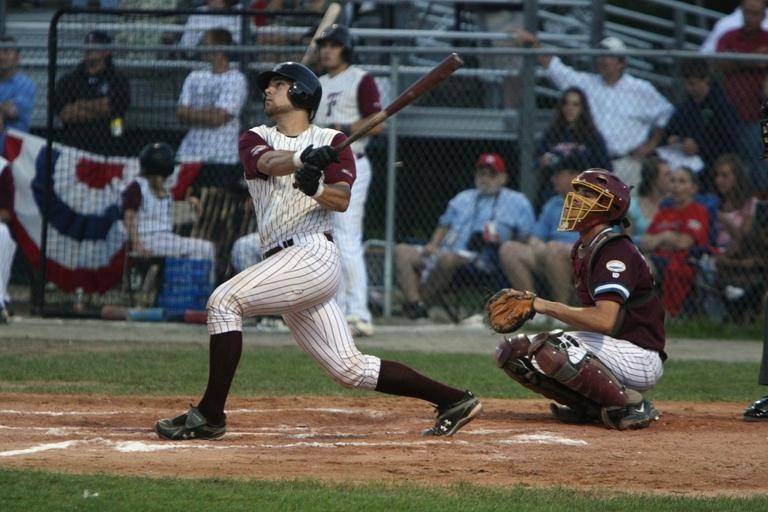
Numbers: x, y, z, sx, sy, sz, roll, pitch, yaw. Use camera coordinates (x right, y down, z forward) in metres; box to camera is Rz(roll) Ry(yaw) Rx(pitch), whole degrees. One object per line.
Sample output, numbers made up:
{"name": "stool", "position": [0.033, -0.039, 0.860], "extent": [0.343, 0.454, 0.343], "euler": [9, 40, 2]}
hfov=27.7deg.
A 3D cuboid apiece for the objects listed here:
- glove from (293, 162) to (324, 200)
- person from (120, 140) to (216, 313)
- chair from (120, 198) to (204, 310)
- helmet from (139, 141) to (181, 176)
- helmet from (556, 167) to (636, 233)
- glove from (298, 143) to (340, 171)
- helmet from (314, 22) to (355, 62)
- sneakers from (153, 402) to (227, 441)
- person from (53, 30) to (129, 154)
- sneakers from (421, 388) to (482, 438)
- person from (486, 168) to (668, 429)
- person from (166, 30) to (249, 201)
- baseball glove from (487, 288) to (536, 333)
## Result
{"name": "glove", "position": [-0.527, -0.507, 10.744], "extent": [0.212, 0.164, 0.215], "euler": [14, -19, -26]}
{"name": "person", "position": [-1.787, -0.231, 12.992], "extent": [0.727, 1.370, 0.596], "euler": [12, 16, 18]}
{"name": "chair", "position": [-1.826, -0.121, 12.678], "extent": [0.702, 1.234, 0.373], "euler": [-4, 15, -22]}
{"name": "helmet", "position": [-1.891, -0.816, 13.164], "extent": [0.264, 0.300, 0.301], "euler": [4, 11, -6]}
{"name": "helmet", "position": [1.572, -0.395, 11.532], "extent": [0.511, 0.459, 0.389], "euler": [16, -4, -20]}
{"name": "glove", "position": [-0.454, -0.683, 10.735], "extent": [0.258, 0.140, 0.151], "euler": [4, 1, -1]}
{"name": "helmet", "position": [-0.416, -1.904, 13.868], "extent": [0.353, 0.182, 0.251], "euler": [27, 13, 15]}
{"name": "sneakers", "position": [-1.373, 1.159, 11.047], "extent": [0.497, 0.229, 0.203], "euler": [4, -3, -6]}
{"name": "person", "position": [-2.290, -1.258, 12.575], "extent": [0.441, 0.750, 0.989], "euler": [4, 1, 14]}
{"name": "sneakers", "position": [0.467, 1.118, 11.239], "extent": [0.495, 0.212, 0.165], "euler": [-35, -10, 19]}
{"name": "person", "position": [1.452, 0.284, 11.393], "extent": [1.222, 1.732, 0.563], "euler": [4, 1, 9]}
{"name": "person", "position": [-1.619, -1.162, 14.316], "extent": [0.555, 1.724, 0.420], "euler": [7, 30, 3]}
{"name": "baseball glove", "position": [0.920, 0.375, 11.374], "extent": [0.338, 0.141, 0.423], "euler": [1, 44, 14]}
